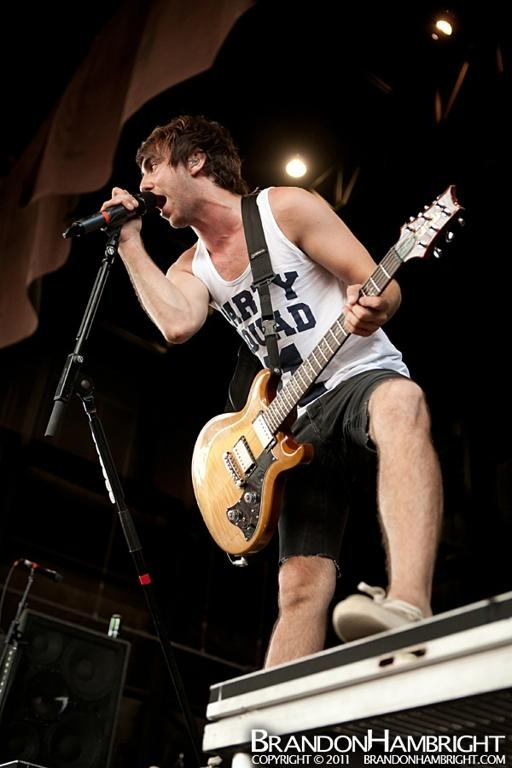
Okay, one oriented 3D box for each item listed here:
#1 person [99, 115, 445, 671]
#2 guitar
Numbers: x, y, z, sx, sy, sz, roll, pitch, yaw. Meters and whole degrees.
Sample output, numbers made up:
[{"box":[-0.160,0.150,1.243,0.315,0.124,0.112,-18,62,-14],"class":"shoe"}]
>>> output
[{"box":[0.000,-0.164,1.847,0.237,0.710,1.794,15,36,-26],"class":"person"},{"box":[0.051,-0.017,1.858,0.465,0.908,0.778,36,66,23],"class":"guitar"}]
